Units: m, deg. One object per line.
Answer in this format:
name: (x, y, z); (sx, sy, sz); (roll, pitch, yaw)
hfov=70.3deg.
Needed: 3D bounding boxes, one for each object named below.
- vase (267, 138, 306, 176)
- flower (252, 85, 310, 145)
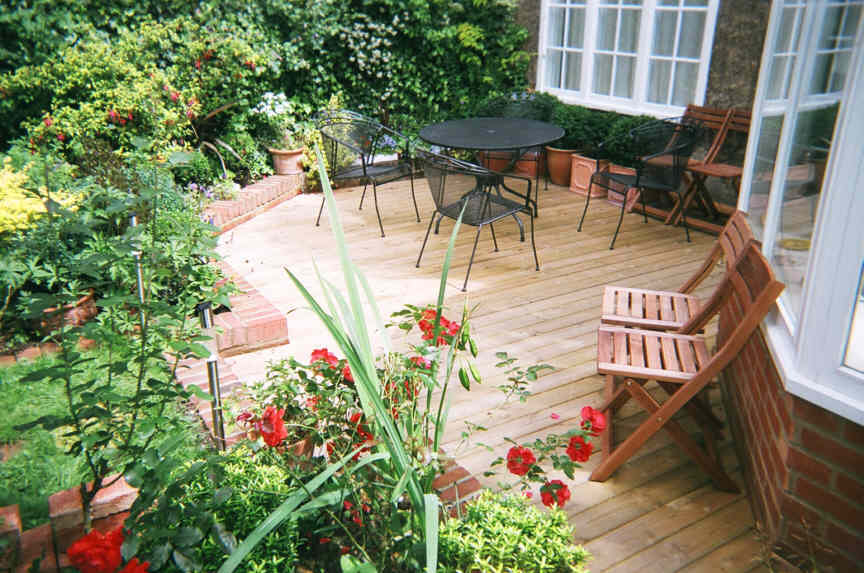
vase: (-1.540, -1.341, 6.528); (0.394, 0.252, 0.378); (-9, 29, -17)
flower: (-1.656, -1.827, 6.674); (0.556, 0.555, 0.688); (-5, 24, -8)
